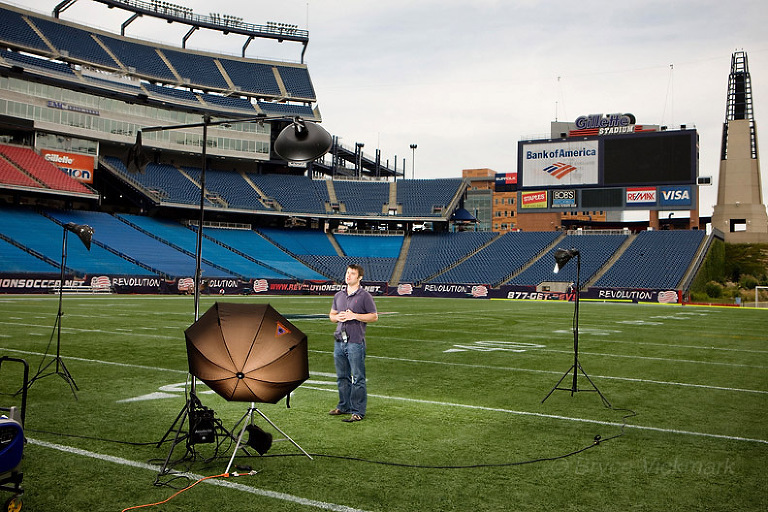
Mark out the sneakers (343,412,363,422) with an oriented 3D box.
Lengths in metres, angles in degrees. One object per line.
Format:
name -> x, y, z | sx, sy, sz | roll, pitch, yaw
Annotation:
sneakers -> -0.514, 2.758, 11.324 | 0.131, 0.116, 0.327 | -10, -19, 33

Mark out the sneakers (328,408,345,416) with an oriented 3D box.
sneakers -> -0.804, 2.746, 11.655 | 0.333, 0.104, 0.094 | 10, -16, 8

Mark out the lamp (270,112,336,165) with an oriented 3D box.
lamp -> -1.251, -1.809, 10.380 | 0.852, 0.685, 0.379 | 4, 2, 26

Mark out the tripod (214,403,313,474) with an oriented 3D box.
tripod -> -1.967, 2.757, 10.303 | 1.156, 0.627, 1.179 | 0, -3, 21

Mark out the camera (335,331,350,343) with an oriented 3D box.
camera -> -0.701, 1.405, 11.490 | 0.246, 0.176, 0.096 | 2, 10, 11

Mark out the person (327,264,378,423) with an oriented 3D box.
person -> -0.565, 1.472, 11.646 | 0.786, 1.735, 0.949 | 4, 2, -2
